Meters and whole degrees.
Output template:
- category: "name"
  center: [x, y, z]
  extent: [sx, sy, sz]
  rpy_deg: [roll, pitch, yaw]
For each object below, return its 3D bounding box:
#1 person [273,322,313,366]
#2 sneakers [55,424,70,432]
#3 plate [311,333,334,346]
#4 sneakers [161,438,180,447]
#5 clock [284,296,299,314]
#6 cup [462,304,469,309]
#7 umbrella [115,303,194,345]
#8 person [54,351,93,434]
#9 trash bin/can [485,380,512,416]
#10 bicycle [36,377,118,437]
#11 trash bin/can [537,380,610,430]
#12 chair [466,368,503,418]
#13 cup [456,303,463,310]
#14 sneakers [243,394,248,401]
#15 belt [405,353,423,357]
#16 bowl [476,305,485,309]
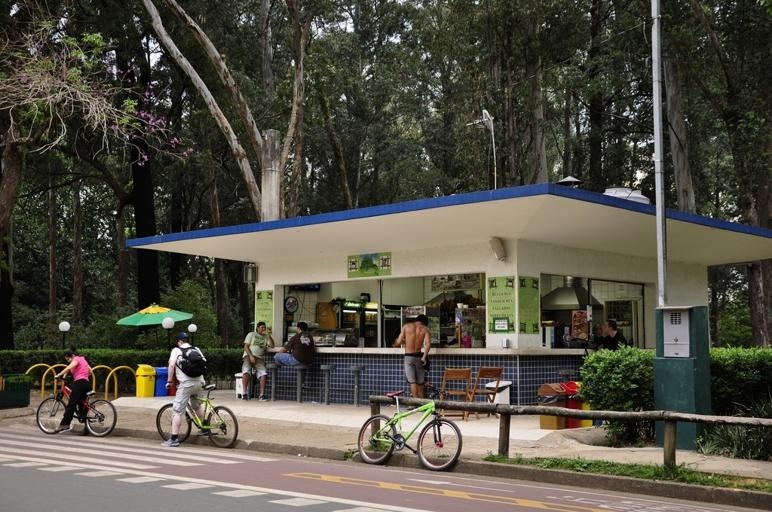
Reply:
- category: "person"
  center: [-2.805, 2.792, 25.090]
  extent: [0.790, 1.377, 1.345]
  rpy_deg: [6, -9, -35]
- category: "sneakers"
  center: [-8.255, 4.423, 20.668]
  extent: [0.464, 0.226, 0.188]
  rpy_deg: [-4, -6, 17]
- category: "plate"
  center: [-1.969, 2.662, 25.619]
  extent: [0.932, 0.431, 0.534]
  rpy_deg: [-7, -11, 40]
- category: "sneakers"
  center: [-5.067, 4.431, 19.162]
  extent: [0.437, 0.220, 0.174]
  rpy_deg: [-1, -10, 16]
- category: "clock"
  center: [-3.215, 1.636, 27.158]
  extent: [0.170, 0.512, 0.494]
  rpy_deg: [-3, -12, 33]
- category: "cup"
  center: [2.555, 1.634, 26.151]
  extent: [0.120, 0.092, 0.126]
  rpy_deg: [-1, -12, 0]
- category: "umbrella"
  center: [-8.394, 2.213, 29.337]
  extent: [2.137, 1.160, 2.277]
  rpy_deg: [-2, 2, -13]
- category: "person"
  center: [-7.911, 3.423, 20.538]
  extent: [0.798, 2.013, 0.805]
  rpy_deg: [-1, -7, 13]
- category: "trash bin/can"
  center: [2.995, 3.726, 21.462]
  extent: [0.717, 0.731, 0.651]
  rpy_deg: [4, -7, -43]
- category: "bicycle"
  center: [-7.909, 3.859, 20.705]
  extent: [2.169, 1.466, 0.989]
  rpy_deg: [1, -6, 8]
- category: "trash bin/can"
  center: [4.421, 3.732, 20.074]
  extent: [1.254, 1.165, 1.492]
  rpy_deg: [-1, -8, 8]
- category: "chair"
  center: [2.669, 3.686, 21.784]
  extent: [0.870, 1.353, 2.069]
  rpy_deg: [0, -8, 6]
- category: "cup"
  center: [2.386, 1.637, 26.298]
  extent: [0.158, 0.137, 0.139]
  rpy_deg: [-2, -10, 29]
- category: "sneakers"
  center: [-4.457, 4.497, 25.666]
  extent: [0.199, 0.243, 0.138]
  rpy_deg: [1, -1, 21]
- category: "belt"
  center: [0.766, 2.728, 22.258]
  extent: [0.431, 0.147, 0.131]
  rpy_deg: [3, -8, -14]
- category: "bowl"
  center: [2.942, 1.611, 25.306]
  extent: [0.221, 0.177, 0.655]
  rpy_deg: [0, -9, 2]
